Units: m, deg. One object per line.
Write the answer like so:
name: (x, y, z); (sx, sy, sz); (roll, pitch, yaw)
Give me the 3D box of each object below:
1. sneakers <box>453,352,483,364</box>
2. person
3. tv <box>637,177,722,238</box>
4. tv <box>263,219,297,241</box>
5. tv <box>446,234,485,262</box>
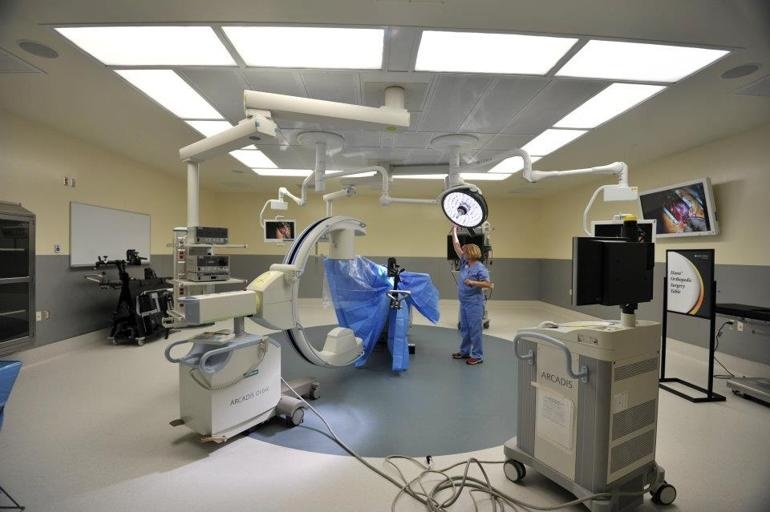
sneakers: (1.079, 1.331, 6.618); (0.351, 0.145, 0.142); (7, 5, 21)
person: (1.137, 0.636, 6.600); (0.313, 1.555, 0.514); (0, 1, -23)
tv: (3.991, -0.641, 6.686); (0.133, 0.681, 0.978); (-10, 0, -21)
tv: (-1.831, -0.440, 8.600); (0.547, 0.413, 0.142); (0, -1, -5)
tv: (1.430, -0.147, 8.910); (0.572, 0.468, 0.598); (3, -3, 9)
